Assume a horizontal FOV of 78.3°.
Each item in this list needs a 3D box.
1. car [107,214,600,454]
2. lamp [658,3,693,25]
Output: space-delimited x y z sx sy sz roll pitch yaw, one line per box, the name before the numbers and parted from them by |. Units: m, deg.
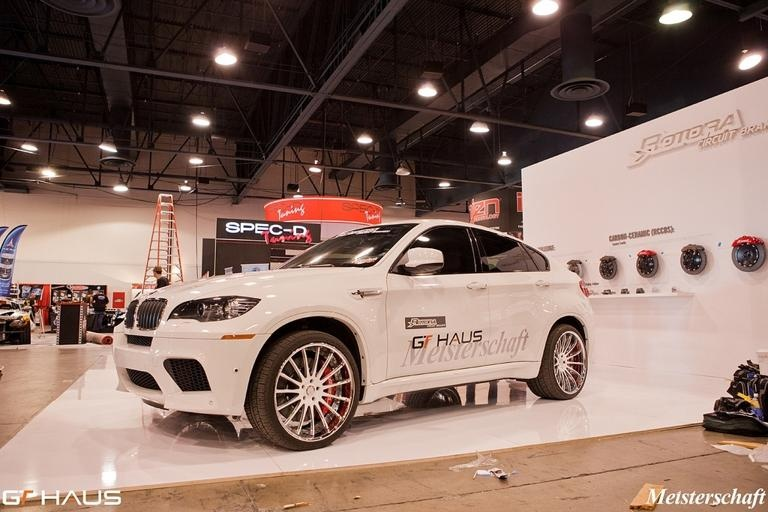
car | -0.042 0.782 5.428 4.606 1.611 2.357 4 -7 -30
lamp | 4.947 -4.133 8.054 0.430 0.252 0.375 -1 -1 33
